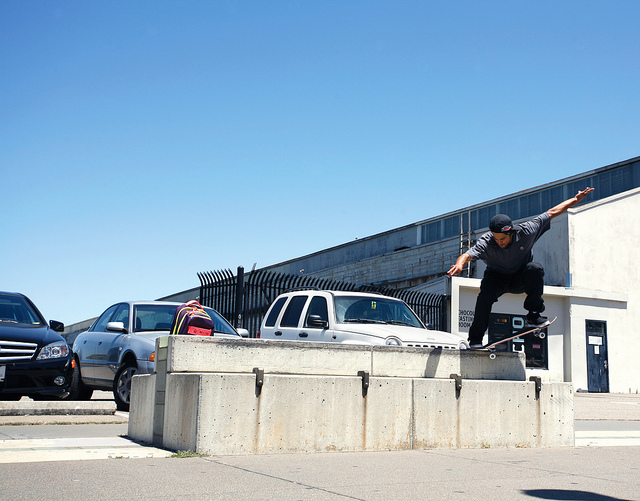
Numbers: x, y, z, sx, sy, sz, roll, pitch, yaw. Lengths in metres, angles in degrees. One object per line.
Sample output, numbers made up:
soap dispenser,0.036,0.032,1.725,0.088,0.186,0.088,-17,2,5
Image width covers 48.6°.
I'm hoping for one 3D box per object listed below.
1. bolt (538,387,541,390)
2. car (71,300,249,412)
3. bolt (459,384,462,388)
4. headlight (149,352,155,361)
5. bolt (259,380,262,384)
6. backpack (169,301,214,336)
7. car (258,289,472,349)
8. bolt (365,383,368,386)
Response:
bolt,3.016,1.881,9.726,0.004,0.035,0.036,3,1,42
car,-3.645,1.976,13.025,1.425,1.470,3.290,2,1,-31
bolt,1.824,1.759,9.226,0.040,0.031,0.004,2,1,-40
headlight,-2.768,1.741,11.587,0.070,0.096,0.276,2,1,-22
bolt,-0.684,1.503,8.130,0.027,0.033,0.027,25,-42,-29
backpack,-1.714,0.956,9.675,0.380,0.563,0.525,15,-15,-31
car,0.570,1.122,11.372,1.377,1.104,2.215,8,-17,-35
bolt,0.568,1.632,8.686,0.021,0.039,0.023,1,-13,14
